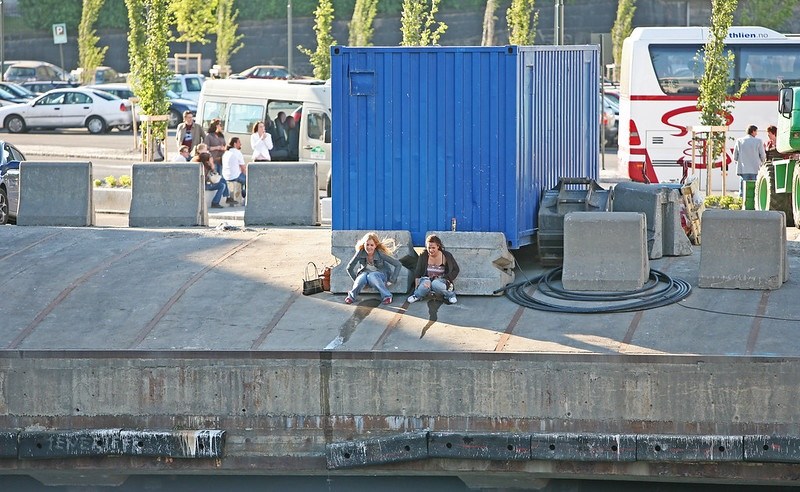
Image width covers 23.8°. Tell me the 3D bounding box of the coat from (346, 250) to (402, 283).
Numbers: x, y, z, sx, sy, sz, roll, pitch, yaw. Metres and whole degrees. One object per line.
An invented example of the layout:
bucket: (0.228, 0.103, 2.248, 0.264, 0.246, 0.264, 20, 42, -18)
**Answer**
coat: (-0.655, 0.433, 48.378, 1.451, 0.930, 0.781, -2, 10, 4)

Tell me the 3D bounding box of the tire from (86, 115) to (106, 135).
tire: (-11.584, -4.582, 72.023, 0.706, 0.683, 0.263, -1, 9, 1)

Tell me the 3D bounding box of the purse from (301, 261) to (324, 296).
purse: (-2.263, 0.883, 48.598, 0.772, 0.965, 0.287, -2, -20, -11)

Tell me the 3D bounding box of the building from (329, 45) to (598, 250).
building: (1.596, -2.854, 50.275, 4.915, 4.768, 9.345, 1, 6, 16)

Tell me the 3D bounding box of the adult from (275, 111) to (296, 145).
adult: (-3.556, -3.569, 58.269, 0.639, 0.972, 0.352, 5, 13, 40)

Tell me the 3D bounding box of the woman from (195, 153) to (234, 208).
woman: (-5.433, -1.841, 55.099, 1.168, 1.842, 0.651, -18, 35, -20)

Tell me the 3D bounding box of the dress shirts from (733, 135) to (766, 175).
dress shirts: (10.435, -2.562, 56.534, 0.978, 1.294, 0.630, 0, -1, 25)

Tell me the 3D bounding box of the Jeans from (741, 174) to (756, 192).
Jeans: (10.303, -1.741, 56.379, 0.452, 0.561, 0.785, 2, 5, 17)

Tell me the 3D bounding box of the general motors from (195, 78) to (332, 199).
general motors: (-4.706, -3.357, 59.511, 6.229, 3.413, 3.344, 2, 6, -33)

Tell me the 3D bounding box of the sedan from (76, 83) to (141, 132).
sedan: (-10.782, -5.194, 72.632, 3.349, 1.570, 1.827, 2, 7, 3)

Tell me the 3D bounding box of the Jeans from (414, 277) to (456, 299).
Jeans: (0.899, 1.044, 48.087, 0.754, 0.343, 0.607, 3, 3, 1)

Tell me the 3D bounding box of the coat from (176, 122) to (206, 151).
coat: (-6.334, -3.275, 57.388, 1.095, 1.034, 0.601, 1, -2, 9)

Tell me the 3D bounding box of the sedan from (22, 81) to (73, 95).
sedan: (-14.449, -6.436, 77.067, 2.307, 0.792, 1.047, -4, 7, -6)

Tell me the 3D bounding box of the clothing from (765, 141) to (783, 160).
clothing: (10.884, -2.760, 55.868, 0.384, 0.596, 0.607, 1, 12, -15)

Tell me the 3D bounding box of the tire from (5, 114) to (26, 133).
tire: (-14.669, -4.635, 72.097, 0.674, 0.653, 0.252, 1, 9, 1)

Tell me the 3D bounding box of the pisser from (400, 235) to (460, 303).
pisser: (0.797, 0.571, 48.084, 1.366, 1.538, 1.124, -2, 18, 3)

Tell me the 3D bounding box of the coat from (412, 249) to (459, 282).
coat: (0.929, 0.558, 48.411, 1.411, 1.107, 0.716, 1, -2, 10)

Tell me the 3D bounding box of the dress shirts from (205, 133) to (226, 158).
dress shirts: (-5.598, -2.949, 56.832, 0.433, 0.716, 0.745, -3, 8, 25)
